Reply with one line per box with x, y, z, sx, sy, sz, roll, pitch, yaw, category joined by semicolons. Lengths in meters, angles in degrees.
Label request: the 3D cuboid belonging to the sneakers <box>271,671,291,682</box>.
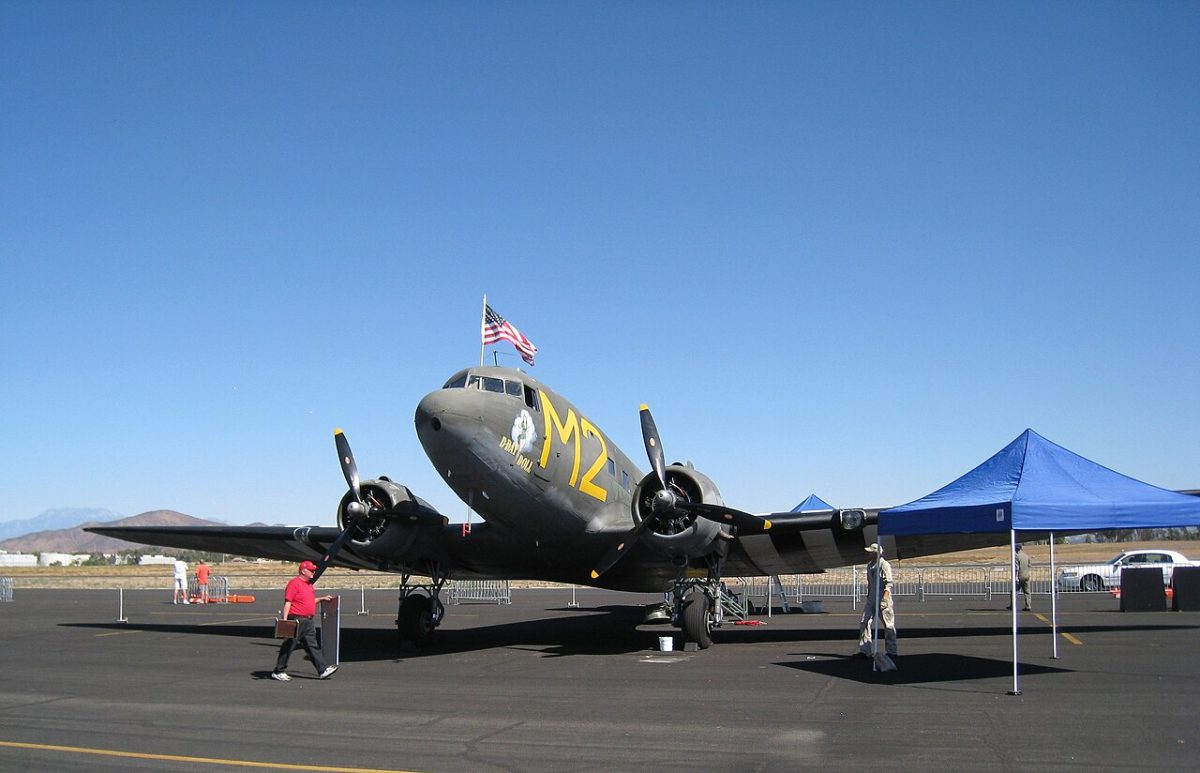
-6.814;6.202;22.969;0.447;0.148;0.152;10;-13;10;sneakers

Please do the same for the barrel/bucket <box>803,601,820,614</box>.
7.246;7.512;36.618;0.834;0.404;0.388;-1;-15;6;barrel/bucket

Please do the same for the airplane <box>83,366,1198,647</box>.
1.128;3.084;26.833;23.404;6.787;8.538;-3;-9;12;airplane

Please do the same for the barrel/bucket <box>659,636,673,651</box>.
1.758;6.338;26.450;0.467;0.331;0.381;3;-8;-14;barrel/bucket

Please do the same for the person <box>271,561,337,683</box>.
-6.360;5.007;23.033;1.204;2.482;1.564;-1;-10;-6;person
